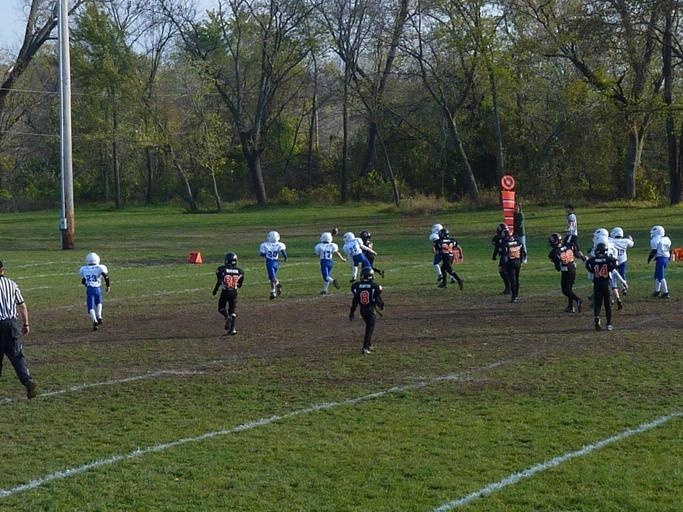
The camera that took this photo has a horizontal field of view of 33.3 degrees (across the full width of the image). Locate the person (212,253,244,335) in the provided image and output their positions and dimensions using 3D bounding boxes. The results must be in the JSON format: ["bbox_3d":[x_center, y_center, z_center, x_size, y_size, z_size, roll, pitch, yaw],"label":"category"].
[{"bbox_3d":[-3.954,1.279,39.361,1.195,2.626,1.421,0,0,-12],"label":"person"}]

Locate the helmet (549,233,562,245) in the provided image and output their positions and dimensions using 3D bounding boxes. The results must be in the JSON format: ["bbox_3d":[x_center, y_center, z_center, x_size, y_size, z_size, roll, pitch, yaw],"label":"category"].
[{"bbox_3d":[7.637,-0.596,40.645,0.498,0.478,0.391,6,-7,3],"label":"helmet"}]

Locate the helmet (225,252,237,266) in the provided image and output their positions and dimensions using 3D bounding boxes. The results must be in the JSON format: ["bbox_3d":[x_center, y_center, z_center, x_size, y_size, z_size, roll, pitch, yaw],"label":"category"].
[{"bbox_3d":[-3.825,0.066,39.114,0.345,0.395,0.692,-4,4,-9],"label":"helmet"}]

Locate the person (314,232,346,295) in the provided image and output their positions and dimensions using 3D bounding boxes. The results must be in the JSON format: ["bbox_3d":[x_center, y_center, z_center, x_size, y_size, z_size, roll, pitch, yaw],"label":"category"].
[{"bbox_3d":[-0.662,0.124,45.094,1.191,2.555,0.999,7,11,23],"label":"person"}]

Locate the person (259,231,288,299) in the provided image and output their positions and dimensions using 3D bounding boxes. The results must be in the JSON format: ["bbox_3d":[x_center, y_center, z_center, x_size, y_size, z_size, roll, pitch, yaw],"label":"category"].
[{"bbox_3d":[-2.646,0.189,44.469,1.184,2.645,1.326,0,1,-20],"label":"person"}]

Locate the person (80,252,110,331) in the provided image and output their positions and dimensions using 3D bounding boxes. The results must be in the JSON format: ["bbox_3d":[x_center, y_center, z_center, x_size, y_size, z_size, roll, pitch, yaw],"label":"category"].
[{"bbox_3d":[-8.729,1.123,40.009,1.189,2.826,1.502,0,0,-11],"label":"person"}]

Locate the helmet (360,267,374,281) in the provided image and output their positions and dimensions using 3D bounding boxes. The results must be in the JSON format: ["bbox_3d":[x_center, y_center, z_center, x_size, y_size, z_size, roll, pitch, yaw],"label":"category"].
[{"bbox_3d":[0.803,0.561,36.843,0.345,0.371,0.428,3,14,9],"label":"helmet"}]
